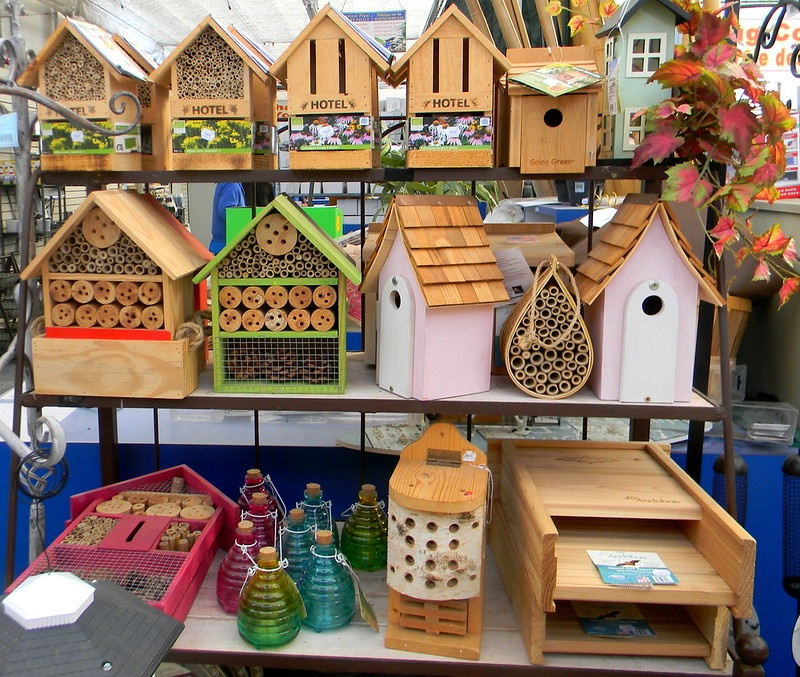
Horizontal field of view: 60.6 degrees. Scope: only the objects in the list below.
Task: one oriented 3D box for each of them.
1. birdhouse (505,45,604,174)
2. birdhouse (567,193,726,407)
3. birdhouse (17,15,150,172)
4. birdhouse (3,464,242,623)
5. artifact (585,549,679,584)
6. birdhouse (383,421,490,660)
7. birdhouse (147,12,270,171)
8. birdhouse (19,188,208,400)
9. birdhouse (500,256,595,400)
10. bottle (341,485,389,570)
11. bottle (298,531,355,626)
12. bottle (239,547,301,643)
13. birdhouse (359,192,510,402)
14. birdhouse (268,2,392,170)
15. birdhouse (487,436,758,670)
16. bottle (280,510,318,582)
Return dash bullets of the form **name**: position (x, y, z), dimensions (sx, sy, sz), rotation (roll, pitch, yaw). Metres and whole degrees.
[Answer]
- **birdhouse**: position (0.447, -0.677, 2.026), dimensions (0.319, 0.337, 0.301), rotation (8, 22, 24)
- **birdhouse**: position (0.735, -0.124, 2.055), dimensions (0.389, 0.605, 0.254), rotation (-2, 7, 4)
- **birdhouse**: position (-0.943, -0.725, 2.117), dimensions (0.375, 0.420, 0.410), rotation (-10, 18, -41)
- **birdhouse**: position (-0.771, 0.625, 2.153), dimensions (0.426, 0.165, 0.570), rotation (3, 17, 0)
- **artifact**: position (0.625, 0.620, 1.846), dimensions (0.203, 0.036, 0.158), rotation (-2, 7, -1)
- **birdhouse**: position (0.103, 0.565, 1.945), dimensions (0.303, 0.604, 0.268), rotation (-2, 7, 5)
- **birdhouse**: position (-0.557, -0.712, 2.069), dimensions (0.359, 0.423, 0.272), rotation (-3, 8, -10)
- **birdhouse**: position (-0.855, -0.155, 2.117), dimensions (0.474, 0.563, 0.353), rotation (1, 14, 1)
- **birdhouse**: position (0.447, -0.040, 2.053), dimensions (0.330, 0.393, 0.283), rotation (-9, 17, -22)
- **bottle**: position (-0.117, 0.630, 2.315), dimensions (0.181, 0.243, 0.173), rotation (4, 2, 0)
- **bottle**: position (-0.214, 0.697, 2.004), dimensions (0.164, 0.279, 0.113), rotation (-3, 8, -7)
- **bottle**: position (-0.372, 0.743, 1.954), dimensions (0.193, 0.242, 0.164), rotation (5, -7, -40)
- **birdhouse**: position (0.105, -0.135, 2.089), dimensions (0.337, 0.596, 0.359), rotation (-6, 8, -26)
- **birdhouse**: position (-0.202, -0.705, 1.963), dimensions (0.327, 0.436, 0.124), rotation (-3, 8, -9)
- **birdhouse**: position (0.631, 0.561, 2.014), dimensions (0.548, 0.335, 0.674), rotation (0, 11, 3)
- **bottle**: position (-0.335, 0.675, 2.184), dimensions (0.143, 0.223, 0.136), rotation (1, -12, 0)
